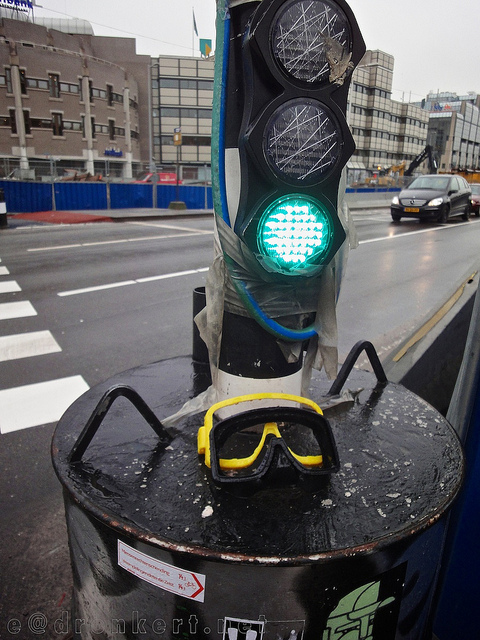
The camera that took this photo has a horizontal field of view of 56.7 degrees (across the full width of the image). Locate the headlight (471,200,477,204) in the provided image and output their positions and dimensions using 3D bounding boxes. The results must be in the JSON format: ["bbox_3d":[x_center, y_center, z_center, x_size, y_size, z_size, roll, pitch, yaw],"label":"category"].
[{"bbox_3d":[10.536,-5.298,19.959,0.091,0.161,0.408,11,16,43],"label":"headlight"}]

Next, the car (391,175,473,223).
[{"bbox_3d":[7.346,-4.618,16.853,3.523,1.785,1.433,-10,15,-39],"label":"car"}]

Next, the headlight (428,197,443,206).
[{"bbox_3d":[6.963,-4.216,15.829,0.618,0.295,0.139,-6,13,-28],"label":"headlight"}]

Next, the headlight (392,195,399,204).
[{"bbox_3d":[5.723,-4.433,16.345,0.186,0.321,0.426,3,12,12],"label":"headlight"}]

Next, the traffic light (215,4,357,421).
[{"bbox_3d":[0.124,-0.242,1.152,0.376,1.048,0.336,0,11,-5],"label":"traffic light"}]
